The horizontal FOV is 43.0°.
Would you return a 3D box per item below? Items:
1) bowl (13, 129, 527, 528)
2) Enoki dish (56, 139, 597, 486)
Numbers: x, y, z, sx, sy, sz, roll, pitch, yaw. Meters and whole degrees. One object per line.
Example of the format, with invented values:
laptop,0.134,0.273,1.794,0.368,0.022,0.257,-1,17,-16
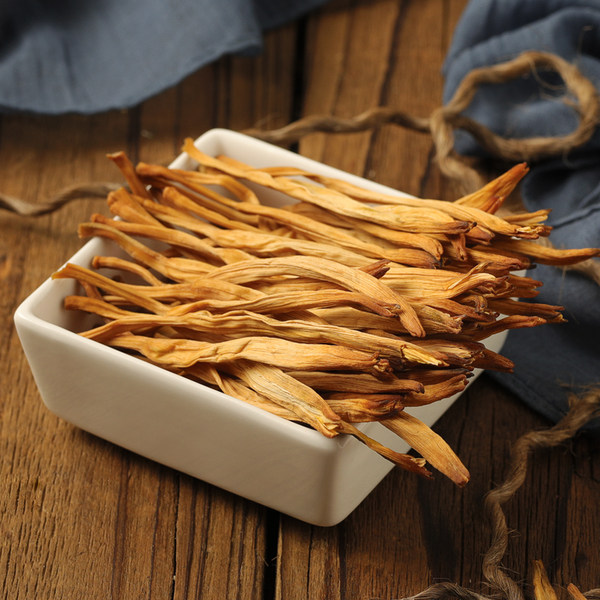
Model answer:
bowl,-0.028,0.013,0.615,0.318,0.185,0.289,23,45,22
Enoki dish,-0.041,0.013,0.592,0.436,0.102,0.233,14,46,20
